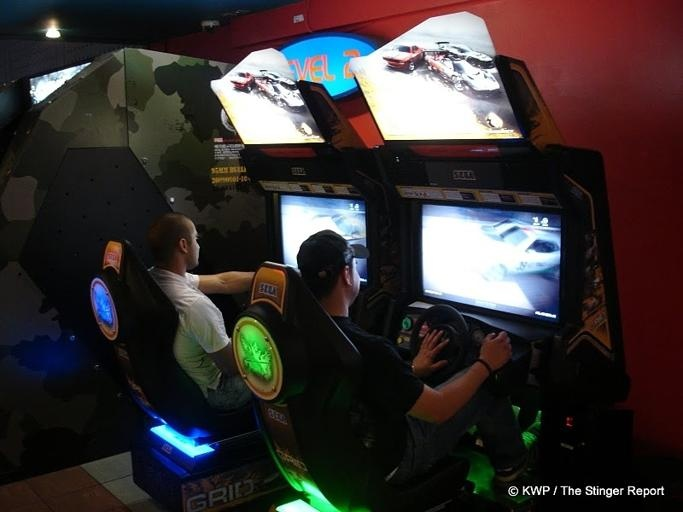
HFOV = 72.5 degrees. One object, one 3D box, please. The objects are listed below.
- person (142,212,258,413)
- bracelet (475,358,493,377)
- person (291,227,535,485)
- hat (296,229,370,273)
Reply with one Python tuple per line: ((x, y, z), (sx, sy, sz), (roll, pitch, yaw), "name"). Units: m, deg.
((-0.770, 0.299, 2.489), (0.389, 1.030, 0.402), (-10, 14, -23), "person")
((0.633, 0.486, 2.068), (0.020, 0.073, 0.070), (-32, 27, -3), "bracelet")
((0.348, 0.518, 2.130), (0.890, 1.345, 0.528), (-15, 17, -38), "person")
((-0.036, 0.005, 1.961), (0.236, 0.117, 0.161), (-29, 29, -29), "hat")
